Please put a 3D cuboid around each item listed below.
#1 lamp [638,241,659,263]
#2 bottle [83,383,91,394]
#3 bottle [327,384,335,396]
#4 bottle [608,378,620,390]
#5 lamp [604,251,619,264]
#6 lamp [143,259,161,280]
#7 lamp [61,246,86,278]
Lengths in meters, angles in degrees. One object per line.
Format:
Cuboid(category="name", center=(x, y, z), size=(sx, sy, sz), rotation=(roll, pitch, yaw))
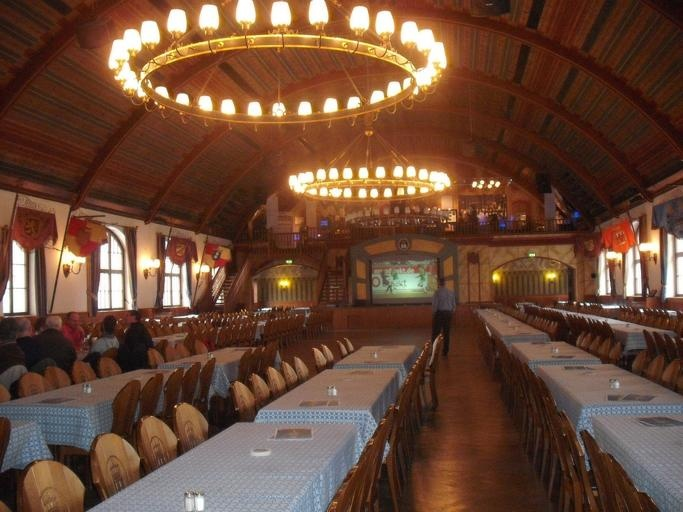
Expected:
Cuboid(category="lamp", center=(10.226, -0.137, 17.327), size=(0.450, 0.789, 0.569), rotation=(3, -4, -22))
Cuboid(category="bottle", center=(-2.696, 1.402, 5.520), size=(0.066, 0.076, 0.039), rotation=(-3, -9, 2))
Cuboid(category="bottle", center=(-0.099, 1.340, 5.231), size=(0.102, 0.122, 0.058), rotation=(1, -11, -7))
Cuboid(category="bottle", center=(2.643, 1.239, 5.069), size=(0.081, 0.089, 0.126), rotation=(2, 2, 15))
Cuboid(category="lamp", center=(11.129, 0.044, 21.506), size=(0.391, 0.481, 0.433), rotation=(-4, 8, 6))
Cuboid(category="lamp", center=(-7.452, 0.504, 20.272), size=(0.472, 1.007, 1.026), rotation=(-3, -2, 12))
Cuboid(category="lamp", center=(-8.277, 0.234, 16.039), size=(0.665, 1.201, 0.564), rotation=(-1, -2, 5))
